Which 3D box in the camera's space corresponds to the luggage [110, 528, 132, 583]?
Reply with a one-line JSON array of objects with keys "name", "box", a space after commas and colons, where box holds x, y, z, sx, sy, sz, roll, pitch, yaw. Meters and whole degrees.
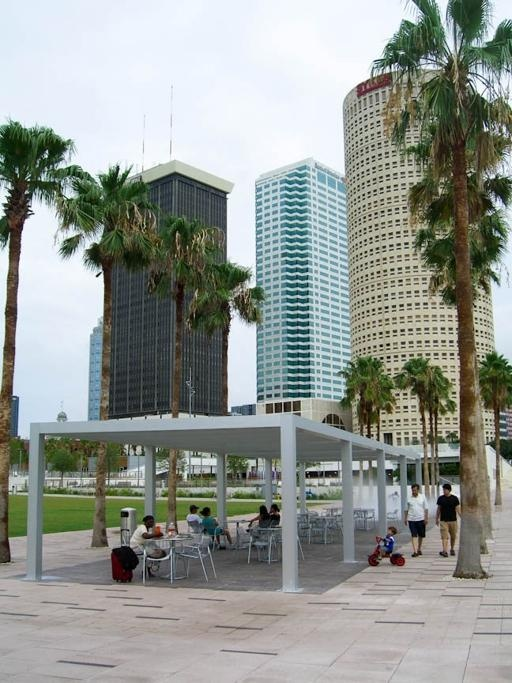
[{"name": "luggage", "box": [-2.434, 3.976, 11.578, 0.384, 0.832, 0.533, 1, -7, -9]}]

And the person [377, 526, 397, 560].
[{"name": "person", "box": [2.764, 4.318, 13.527, 0.378, 0.719, 0.999, -3, -10, 10]}]

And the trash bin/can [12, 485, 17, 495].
[{"name": "trash bin/can", "box": [-26.426, 16.060, 68.928, 0.354, 0.839, 3.489, 2, -12, -21]}]

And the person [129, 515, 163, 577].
[{"name": "person", "box": [-2.032, 3.797, 11.921, 0.448, 1.145, 0.392, -3, 9, 10]}]
